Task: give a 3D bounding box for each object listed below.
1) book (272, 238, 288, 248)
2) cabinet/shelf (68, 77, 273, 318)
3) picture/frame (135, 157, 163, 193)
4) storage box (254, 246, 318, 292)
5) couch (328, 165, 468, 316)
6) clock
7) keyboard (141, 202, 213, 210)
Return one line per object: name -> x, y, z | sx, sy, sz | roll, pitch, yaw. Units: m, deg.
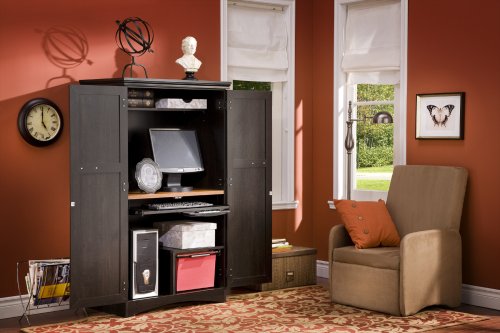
book -> 0.340, 0.930, 5.690 | 0.146, 0.046, 0.139 | 1, -2, -33
cabinet/shelf -> -0.965, 0.313, 5.104 | 0.843, 2.359, 2.544 | 1, 0, 43
picture/frame -> -1.063, 0.096, 4.882 | 0.353, 0.332, 0.088 | 6, -15, -37
storage box -> 0.493, 1.236, 5.649 | 0.834, 0.390, 0.440 | 0, -2, -35
couch -> 1.475, 0.770, 5.577 | 1.579, 1.946, 1.493 | 5, -6, -42
clock -> -2.181, -0.464, 4.787 | 0.556, 0.597, 0.090 | -1, -1, -32
keyboard -> -0.755, 0.411, 4.991 | 0.657, 0.045, 0.304 | -3, 4, -30
